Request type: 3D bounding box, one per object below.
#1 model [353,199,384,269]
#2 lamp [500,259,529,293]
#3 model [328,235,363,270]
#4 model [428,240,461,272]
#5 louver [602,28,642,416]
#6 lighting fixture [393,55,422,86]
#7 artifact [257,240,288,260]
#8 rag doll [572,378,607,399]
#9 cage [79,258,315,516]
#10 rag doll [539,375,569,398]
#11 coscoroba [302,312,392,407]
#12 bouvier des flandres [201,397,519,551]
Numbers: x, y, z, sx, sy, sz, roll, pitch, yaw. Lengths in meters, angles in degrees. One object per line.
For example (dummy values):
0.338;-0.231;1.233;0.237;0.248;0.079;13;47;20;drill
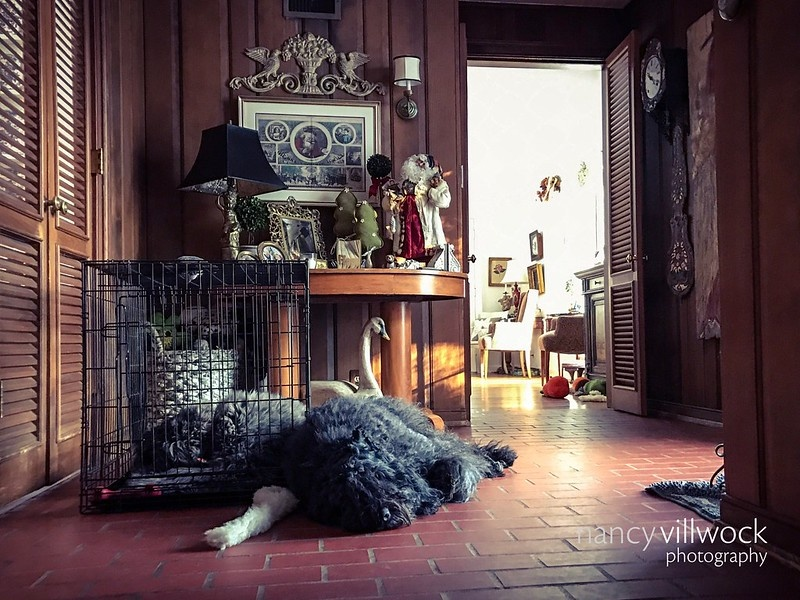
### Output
-0.189;-0.358;3.664;0.172;0.419;0.092;-1;-17;0;model
1.705;-0.341;9.610;0.385;0.612;0.432;0;0;-4;lamp
-0.276;-0.249;3.498;0.130;0.153;0.090;-1;-1;-11;model
0.245;-0.244;3.675;0.183;0.184;0.085;4;-6;-29;model
1.647;-0.540;4.814;0.155;2.721;0.612;-1;-1;-1;louver
0.037;-1.395;4.023;0.161;0.194;0.171;-3;8;-13;lighting fixture
-0.660;-0.253;3.307;0.143;0.105;0.320;-1;-1;-8;artifact
1.686;0.786;5.775;0.166;0.149;0.289;0;0;-24;rag doll
-0.960;0.343;3.259;1.672;1.161;0.901;0;-3;-17;cage
1.414;0.787;5.870;0.217;0.177;0.336;-1;-1;8;rag doll
-0.256;0.308;3.238;0.302;0.466;0.347;2;2;-39;coscoroba
-0.092;0.515;2.424;0.691;0.472;0.762;1;2;13;bouvier des flandres
